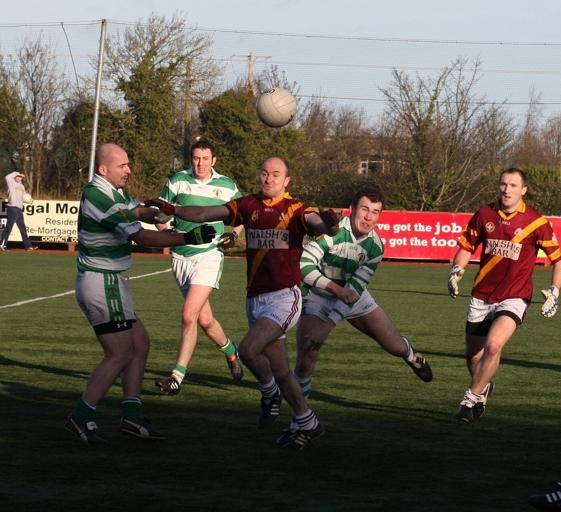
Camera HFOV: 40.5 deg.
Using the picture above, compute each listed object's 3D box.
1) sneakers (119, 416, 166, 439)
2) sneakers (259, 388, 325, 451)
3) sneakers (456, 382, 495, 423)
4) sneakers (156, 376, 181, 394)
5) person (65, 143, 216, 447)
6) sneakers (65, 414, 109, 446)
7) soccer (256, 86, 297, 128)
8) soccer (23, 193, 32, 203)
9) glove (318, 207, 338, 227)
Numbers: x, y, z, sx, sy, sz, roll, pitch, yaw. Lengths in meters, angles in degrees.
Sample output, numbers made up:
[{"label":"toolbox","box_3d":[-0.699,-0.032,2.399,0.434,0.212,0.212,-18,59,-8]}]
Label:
[{"label":"sneakers","box_3d":[-0.928,1.148,5.129,0.335,0.141,0.118,9,-6,3]},{"label":"sneakers","box_3d":[0.091,1.150,5.138,0.293,0.127,0.358,-40,42,-14]},{"label":"sneakers","box_3d":[1.520,1.135,5.917,0.162,0.182,0.494,6,21,29]},{"label":"sneakers","box_3d":[-0.950,1.105,6.508,0.109,0.138,0.292,46,9,22]},{"label":"person","box_3d":[-1.064,0.277,5.246,0.762,2.037,0.794,0,10,-12]},{"label":"sneakers","box_3d":[-1.293,1.145,5.020,0.302,0.199,0.142,7,11,22]},{"label":"soccer","box_3d":[-0.046,-1.604,8.214,0.441,0.425,0.540,2,11,-3]},{"label":"soccer","box_3d":[-7.219,-1.628,21.514,0.276,0.311,0.313,-3,8,2]},{"label":"glove","box_3d":[0.313,-0.258,4.851,0.070,0.081,0.201,3,23,-4]}]
